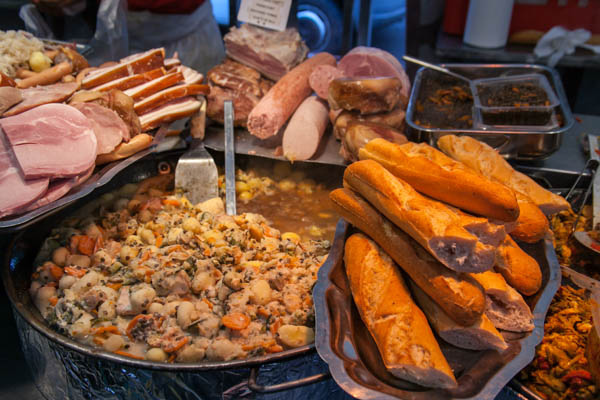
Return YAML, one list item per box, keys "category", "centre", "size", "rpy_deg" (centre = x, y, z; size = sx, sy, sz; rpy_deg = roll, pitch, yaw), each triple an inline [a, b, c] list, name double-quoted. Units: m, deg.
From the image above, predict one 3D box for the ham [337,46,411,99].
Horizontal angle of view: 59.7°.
- category: "ham"
  centre: [0.510, -0.855, 3.527]
  size: [0.463, 0.365, 0.300]
  rpy_deg: [9, 24, 33]

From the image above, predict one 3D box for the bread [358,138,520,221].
- category: "bread"
  centre: [0.645, -0.127, 2.516]
  size: [0.860, 0.240, 0.270]
  rpy_deg: [24, 28, 38]

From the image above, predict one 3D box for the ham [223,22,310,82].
- category: "ham"
  centre: [-0.267, -1.069, 3.638]
  size: [0.502, 0.165, 0.397]
  rpy_deg: [29, 62, 5]

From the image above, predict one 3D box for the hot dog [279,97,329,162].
- category: "hot dog"
  centre: [0.055, -0.467, 3.417]
  size: [0.207, 0.191, 0.479]
  rpy_deg: [18, 53, 15]

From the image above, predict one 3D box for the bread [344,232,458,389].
- category: "bread"
  centre: [0.394, 0.481, 2.365]
  size: [0.457, 0.533, 0.520]
  rpy_deg: [-2, 17, 1]

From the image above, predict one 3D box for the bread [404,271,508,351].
- category: "bread"
  centre: [0.691, 0.521, 2.298]
  size: [0.377, 0.205, 0.111]
  rpy_deg: [50, 45, 7]

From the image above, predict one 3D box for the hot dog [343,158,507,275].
- category: "hot dog"
  centre: [0.556, 0.048, 2.373]
  size: [0.667, 0.192, 0.408]
  rpy_deg: [39, 29, 25]

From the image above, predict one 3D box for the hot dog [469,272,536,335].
- category: "hot dog"
  centre: [0.909, 0.479, 2.411]
  size: [0.203, 0.137, 0.346]
  rpy_deg: [-19, 79, -26]

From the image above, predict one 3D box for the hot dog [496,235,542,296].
- category: "hot dog"
  centre: [1.011, 0.315, 2.481]
  size: [0.155, 0.107, 0.301]
  rpy_deg: [-20, 63, -10]
